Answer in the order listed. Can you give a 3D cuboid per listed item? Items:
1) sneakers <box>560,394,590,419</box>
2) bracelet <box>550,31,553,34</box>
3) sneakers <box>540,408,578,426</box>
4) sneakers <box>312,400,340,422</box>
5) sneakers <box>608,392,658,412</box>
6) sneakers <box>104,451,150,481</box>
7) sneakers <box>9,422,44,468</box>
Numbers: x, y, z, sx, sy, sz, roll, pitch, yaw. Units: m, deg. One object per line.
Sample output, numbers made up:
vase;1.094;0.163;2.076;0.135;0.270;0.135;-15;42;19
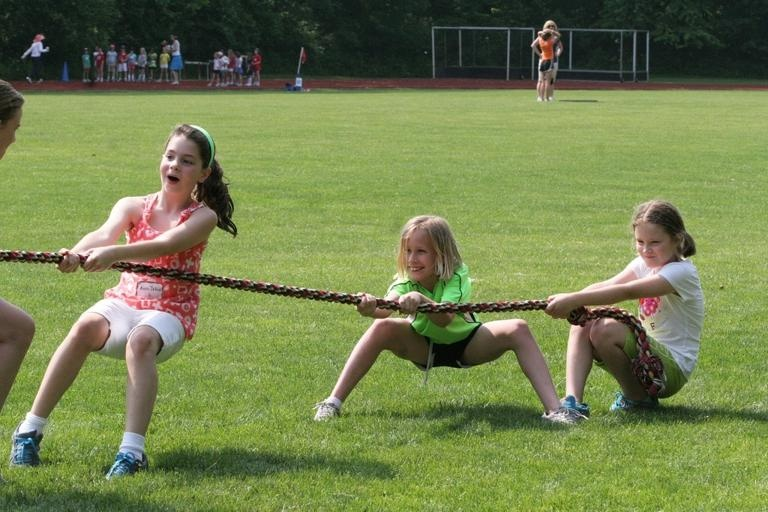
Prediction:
sneakers;2.225;1.754;15.404;0.162;0.189;0.443;-3;-27;42
bracelet;4.566;-6.125;36.264;0.069;0.017;0.062;2;-29;-6
sneakers;2.041;1.844;15.318;0.370;0.142;0.172;-2;17;9
sneakers;-0.668;1.784;15.412;0.181;0.137;0.333;1;0;19
sneakers;2.904;1.698;15.637;0.579;0.250;0.210;3;0;1
sneakers;-2.799;2.256;14.661;0.202;0.229;0.564;29;34;33
sneakers;-3.963;2.104;14.745;0.193;0.542;0.240;11;-41;-41
